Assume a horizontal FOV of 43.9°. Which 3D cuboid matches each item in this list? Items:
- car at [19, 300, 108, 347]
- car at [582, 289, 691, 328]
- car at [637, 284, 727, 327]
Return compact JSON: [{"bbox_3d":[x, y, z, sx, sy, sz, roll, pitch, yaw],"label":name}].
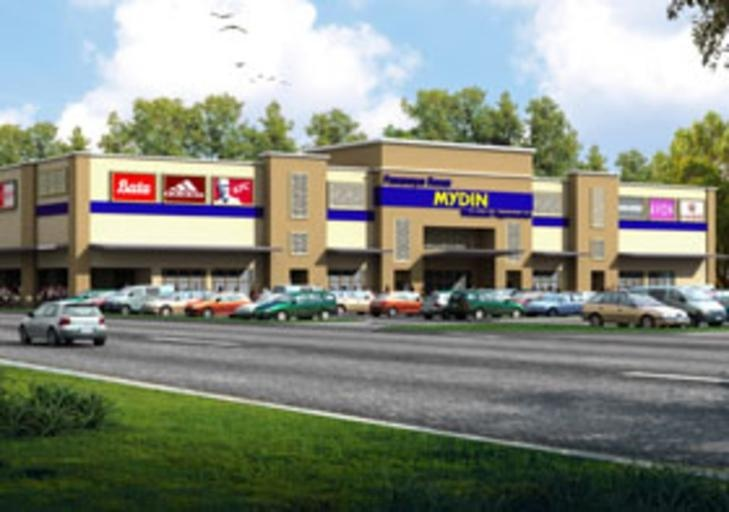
[{"bbox_3d":[-10.347,2.281,30.897,1.555,1.078,2.791,1,2,-37],"label":"car"},{"bbox_3d":[12.730,2.536,42.536,1.876,1.441,4.123,1,-4,-36],"label":"car"},{"bbox_3d":[15.666,2.397,44.211,1.759,1.355,3.581,2,-3,-31],"label":"car"}]
